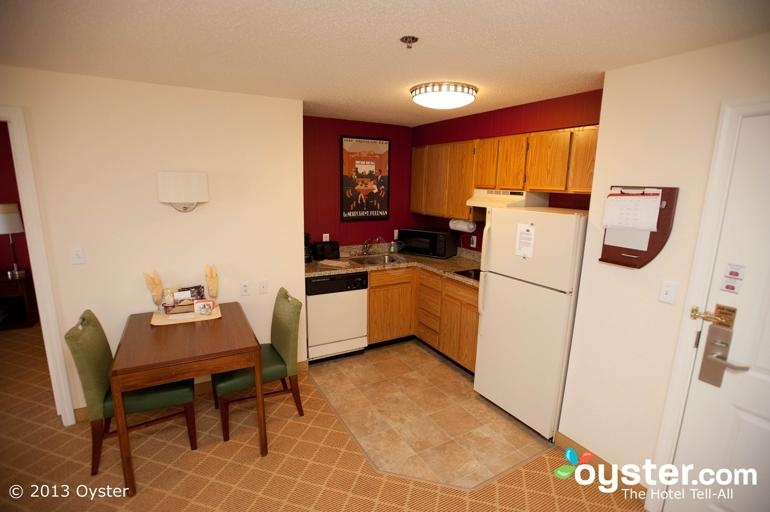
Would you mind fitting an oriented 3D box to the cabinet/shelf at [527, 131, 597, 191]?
[{"bbox_3d":[1.736,-0.937,4.799,0.737,0.611,0.244,0,15,-9],"label":"cabinet/shelf"}]

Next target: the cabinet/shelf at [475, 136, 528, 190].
[{"bbox_3d":[1.298,-0.999,5.283,0.227,0.541,0.635,-8,14,-42],"label":"cabinet/shelf"}]

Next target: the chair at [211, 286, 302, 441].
[{"bbox_3d":[-1.295,0.973,4.727,1.071,1.085,0.977,-1,12,-1],"label":"chair"}]

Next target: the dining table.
[{"bbox_3d":[-1.766,1.419,4.599,1.255,1.117,1.798,-4,12,-23],"label":"dining table"}]

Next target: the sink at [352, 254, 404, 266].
[{"bbox_3d":[-0.113,0.049,6.102,0.317,0.117,0.258,-6,14,-31],"label":"sink"}]

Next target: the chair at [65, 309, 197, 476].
[{"bbox_3d":[-2.224,1.110,4.400,1.055,1.258,1.000,-15,21,-41],"label":"chair"}]

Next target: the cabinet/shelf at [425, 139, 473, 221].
[{"bbox_3d":[0.585,-0.895,5.871,1.027,0.895,0.326,-10,12,-41],"label":"cabinet/shelf"}]

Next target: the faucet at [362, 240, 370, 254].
[{"bbox_3d":[-0.241,-0.106,6.255,0.089,0.161,0.166,1,11,11],"label":"faucet"}]

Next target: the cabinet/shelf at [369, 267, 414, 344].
[{"bbox_3d":[-0.036,0.529,6.102,0.829,0.939,0.810,-2,14,-4],"label":"cabinet/shelf"}]

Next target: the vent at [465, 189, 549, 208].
[{"bbox_3d":[1.233,-0.582,5.102,0.826,0.199,0.438,6,12,35],"label":"vent"}]
